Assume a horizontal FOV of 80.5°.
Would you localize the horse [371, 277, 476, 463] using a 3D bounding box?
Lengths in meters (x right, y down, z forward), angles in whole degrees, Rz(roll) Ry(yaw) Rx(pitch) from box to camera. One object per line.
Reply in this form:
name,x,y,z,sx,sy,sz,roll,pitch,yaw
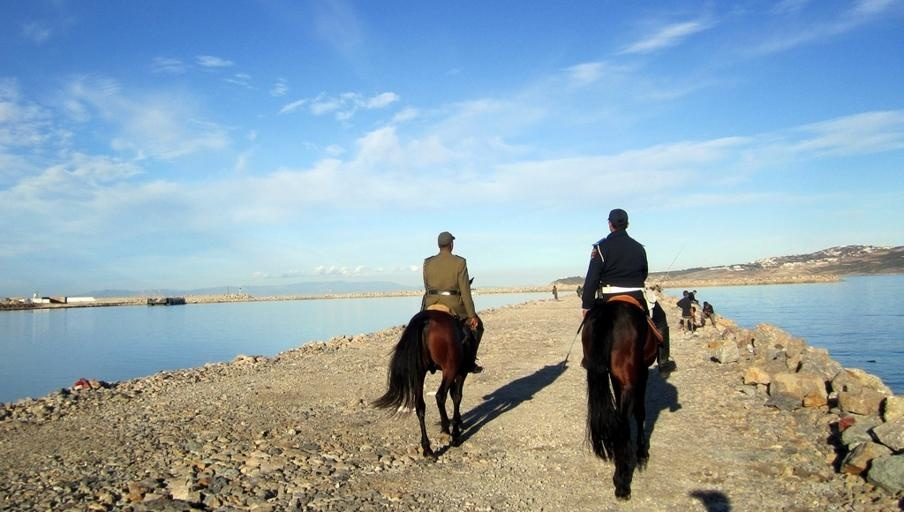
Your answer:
horse,-0.543,2.645,11.743,2.123,2.809,1.400,-3,8,-12
